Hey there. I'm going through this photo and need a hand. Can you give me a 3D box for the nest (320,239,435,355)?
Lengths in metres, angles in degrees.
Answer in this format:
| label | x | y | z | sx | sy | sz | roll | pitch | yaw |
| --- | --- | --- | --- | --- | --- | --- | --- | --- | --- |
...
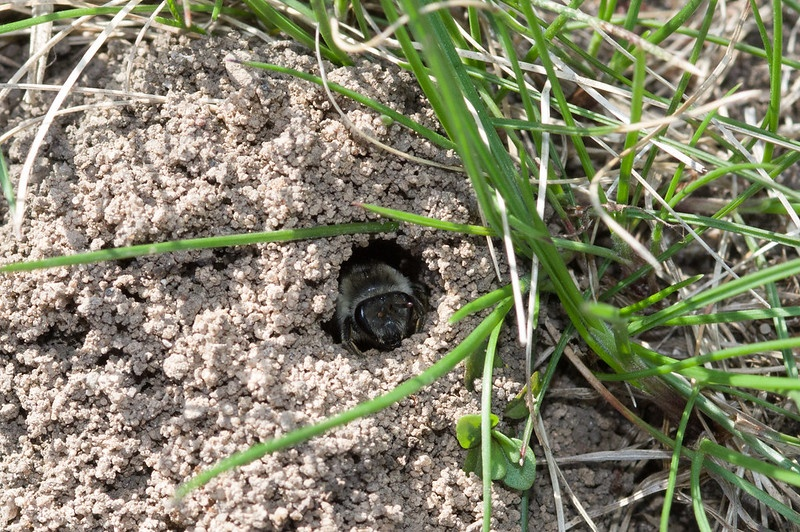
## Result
| label | x | y | z | sx | sy | sz | roll | pitch | yaw |
| --- | --- | --- | --- | --- | --- | --- | --- | --- | --- |
| nest | -0.137 | 0.171 | 3.974 | 0.437 | 0.336 | 0.601 | -2 | 44 | -1 |
